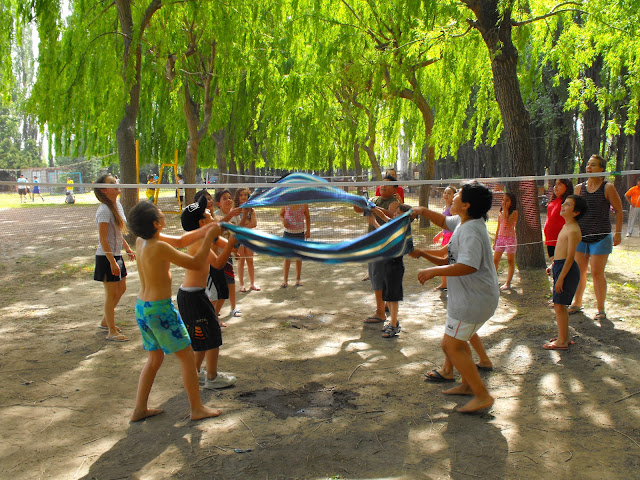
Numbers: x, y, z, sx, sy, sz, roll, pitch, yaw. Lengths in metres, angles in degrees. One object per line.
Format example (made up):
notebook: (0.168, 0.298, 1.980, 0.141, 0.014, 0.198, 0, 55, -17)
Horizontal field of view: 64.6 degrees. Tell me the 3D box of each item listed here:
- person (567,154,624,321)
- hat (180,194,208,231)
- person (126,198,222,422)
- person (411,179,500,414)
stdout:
person: (4.314, -0.089, 8.003, 0.799, 2.546, 0.909, 4, -2, -45)
hat: (-1.443, -0.319, 5.876, 0.387, 0.273, 0.531, -4, -15, -14)
person: (-1.557, 0.766, 5.277, 0.882, 2.294, 0.460, 1, 12, 8)
person: (1.520, 0.601, 5.535, 0.813, 2.417, 1.067, 2, 12, 13)
